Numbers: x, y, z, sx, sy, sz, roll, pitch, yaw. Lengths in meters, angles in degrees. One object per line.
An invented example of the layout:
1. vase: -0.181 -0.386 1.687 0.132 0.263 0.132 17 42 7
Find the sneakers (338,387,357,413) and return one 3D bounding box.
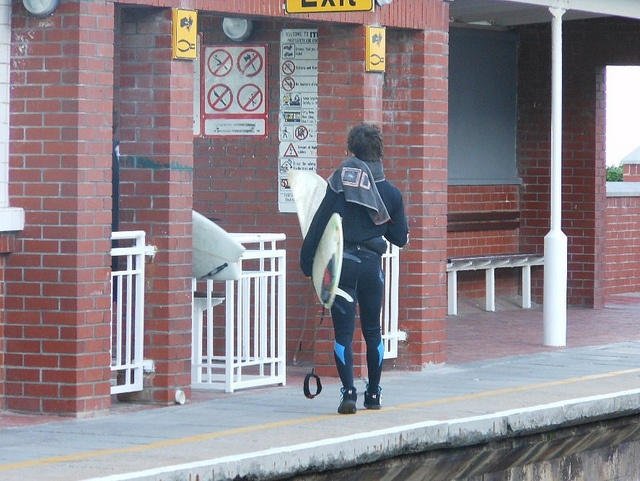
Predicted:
1. sneakers: 0.238 1.312 14.982 0.167 0.218 0.161 -3 -2 -12

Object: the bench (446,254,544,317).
1. bench: 2.155 0.581 22.889 1.950 0.671 0.435 -3 5 -43

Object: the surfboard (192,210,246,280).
1. surfboard: -0.887 0.068 16.017 0.445 0.587 0.301 -3 -2 -5

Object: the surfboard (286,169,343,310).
1. surfboard: -0.014 -0.013 15.113 0.412 1.156 0.701 -4 -2 -1
